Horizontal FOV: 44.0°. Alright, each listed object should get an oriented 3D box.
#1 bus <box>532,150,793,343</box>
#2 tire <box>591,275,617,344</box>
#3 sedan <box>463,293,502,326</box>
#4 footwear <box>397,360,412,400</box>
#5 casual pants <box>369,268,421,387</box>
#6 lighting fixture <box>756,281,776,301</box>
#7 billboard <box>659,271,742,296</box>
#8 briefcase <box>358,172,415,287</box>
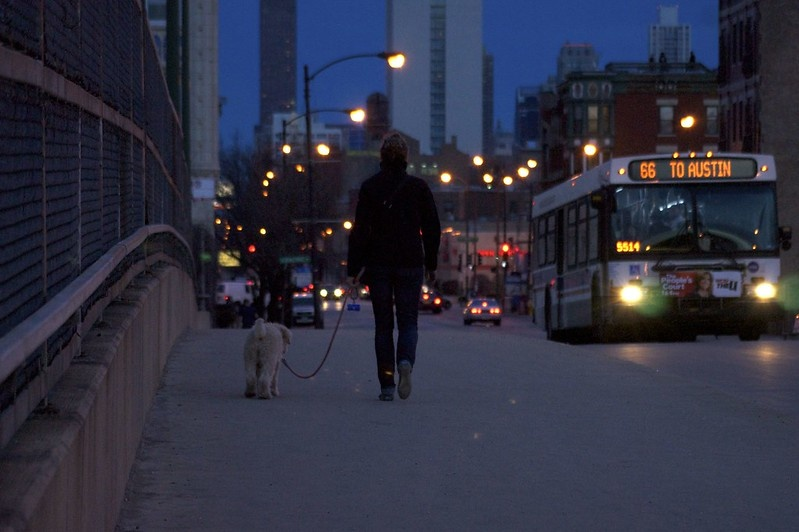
[{"bbox_3d":[5.878,-0.308,23.191,3.941,4.424,5.642,0,1,-12],"label":"bus"},{"bbox_3d":[4.608,0.896,21.732,0.391,1.661,0.364,1,-5,38],"label":"tire"},{"bbox_3d":[4.963,2.788,59.160,2.133,1.507,1.203,-1,1,-26],"label":"sedan"},{"bbox_3d":[0.061,1.305,11.013,0.131,0.480,0.211,0,6,0],"label":"footwear"},{"bbox_3d":[-0.047,0.684,11.207,0.594,1.841,0.535,0,-32,1],"label":"casual pants"},{"bbox_3d":[7.773,0.514,21.046,0.461,0.399,0.085,0,1,-9],"label":"lighting fixture"},{"bbox_3d":[6.457,0.381,21.155,1.703,0.535,0.372,0,1,-6],"label":"billboard"},{"bbox_3d":[-0.067,-0.422,11.203,0.868,1.372,0.575,5,-22,-12],"label":"briefcase"}]
